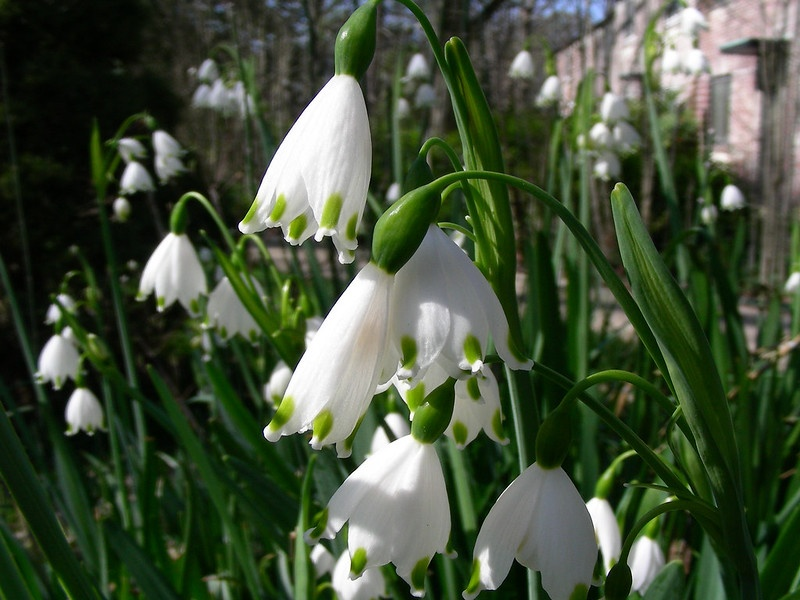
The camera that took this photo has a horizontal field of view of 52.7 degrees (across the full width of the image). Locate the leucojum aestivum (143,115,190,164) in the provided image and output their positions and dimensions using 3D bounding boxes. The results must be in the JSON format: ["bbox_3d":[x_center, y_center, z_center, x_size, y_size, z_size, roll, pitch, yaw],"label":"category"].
[{"bbox_3d":[-0.320,-0.217,1.122,0.049,0.038,0.039,-6,10,-33],"label":"leucojum aestivum"}]

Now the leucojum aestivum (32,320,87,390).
[{"bbox_3d":[-0.467,0.069,1.113,0.061,0.106,0.057,-3,15,-40],"label":"leucojum aestivum"}]

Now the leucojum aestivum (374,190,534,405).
[{"bbox_3d":[0.052,-0.008,0.986,0.144,0.298,0.151,11,-33,-8],"label":"leucojum aestivum"}]

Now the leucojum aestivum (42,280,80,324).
[{"bbox_3d":[-0.464,0.005,1.100,0.042,0.061,0.035,-2,8,-15],"label":"leucojum aestivum"}]

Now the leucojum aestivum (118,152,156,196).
[{"bbox_3d":[-0.367,-0.177,1.128,0.036,0.049,0.037,16,34,43],"label":"leucojum aestivum"}]

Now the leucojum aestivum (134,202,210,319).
[{"bbox_3d":[-0.371,-0.061,1.279,0.065,0.193,0.168,2,8,16],"label":"leucojum aestivum"}]

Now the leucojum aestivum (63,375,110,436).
[{"bbox_3d":[-0.443,0.161,1.140,0.053,0.074,0.056,-12,-12,7],"label":"leucojum aestivum"}]

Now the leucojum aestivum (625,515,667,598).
[{"bbox_3d":[0.403,0.410,1.299,0.092,0.147,0.050,-7,10,-40],"label":"leucojum aestivum"}]

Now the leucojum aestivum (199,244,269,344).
[{"bbox_3d":[-0.312,-0.039,1.485,0.092,0.204,0.105,2,35,4],"label":"leucojum aestivum"}]
